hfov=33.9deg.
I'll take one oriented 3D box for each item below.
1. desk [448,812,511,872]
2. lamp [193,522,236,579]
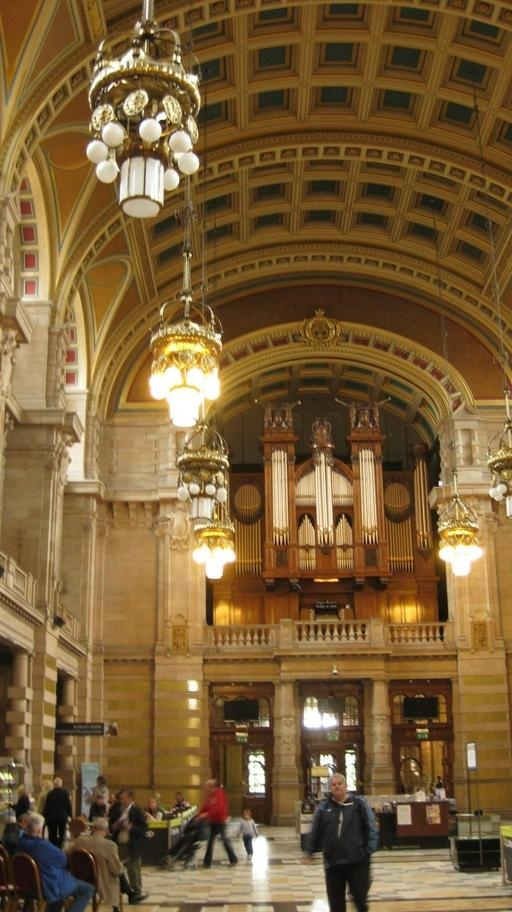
[{"bbox_3d":[3.057,5.392,11.728,0.623,0.776,0.970,-4,-20,10],"label":"desk"},{"bbox_3d":[-0.720,1.584,14.183,0.512,0.987,0.988,-4,-20,10],"label":"lamp"}]
